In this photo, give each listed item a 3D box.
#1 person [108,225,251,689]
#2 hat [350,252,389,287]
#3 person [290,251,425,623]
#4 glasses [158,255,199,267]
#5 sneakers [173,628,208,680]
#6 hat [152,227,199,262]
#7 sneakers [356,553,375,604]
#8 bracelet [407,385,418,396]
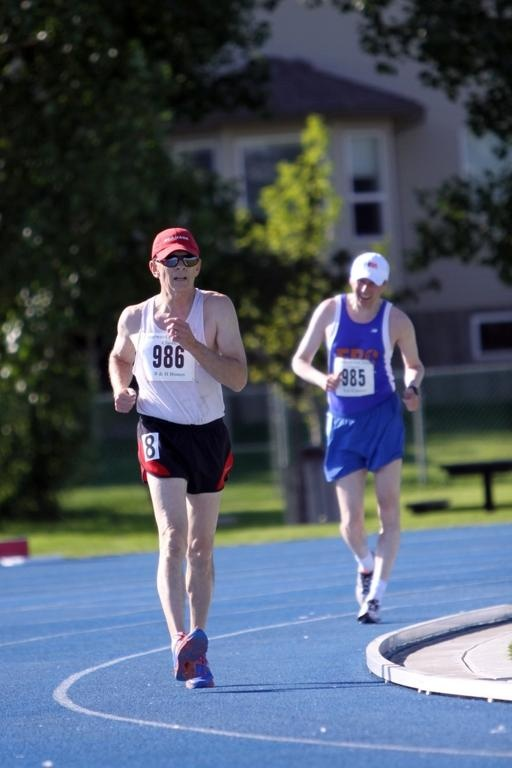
[{"bbox_3d":[-0.266,0.289,3.676,0.527,1.825,0.814,-4,5,-9],"label":"person"},{"bbox_3d":[0.553,-0.554,4.678,0.231,0.153,0.354,9,2,8],"label":"hat"},{"bbox_3d":[0.530,0.292,4.849,0.651,1.912,0.563,-3,5,3],"label":"person"},{"bbox_3d":[-0.292,-0.462,3.621,0.121,0.048,0.058,-4,4,-17],"label":"glasses"},{"bbox_3d":[-0.243,0.951,3.427,0.105,0.220,0.108,10,26,-9],"label":"sneakers"},{"bbox_3d":[-0.319,-0.540,3.703,0.130,0.087,0.176,-3,-2,-14],"label":"hat"},{"bbox_3d":[0.562,1.019,5.084,0.096,0.257,0.114,1,13,1],"label":"sneakers"},{"bbox_3d":[0.758,0.025,4.734,0.032,0.040,0.036,13,53,36],"label":"bracelet"}]
